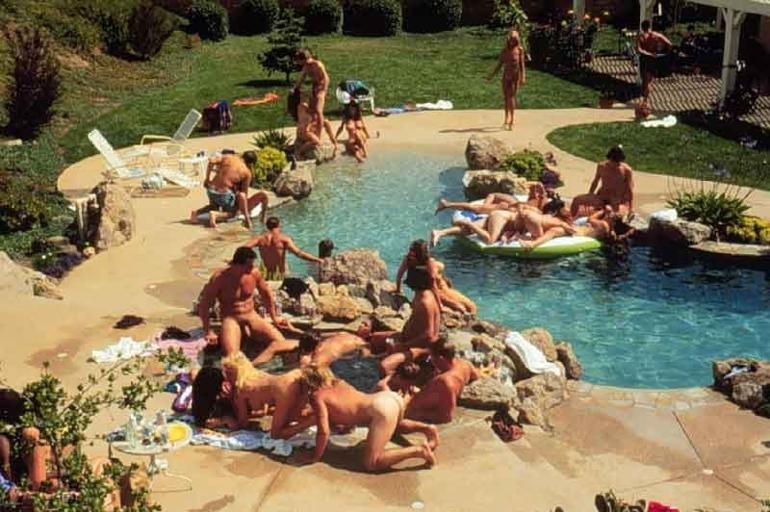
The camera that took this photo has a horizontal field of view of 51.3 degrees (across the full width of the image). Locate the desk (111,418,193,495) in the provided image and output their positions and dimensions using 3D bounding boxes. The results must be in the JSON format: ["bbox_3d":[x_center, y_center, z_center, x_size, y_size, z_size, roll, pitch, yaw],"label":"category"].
[{"bbox_3d":[-4.021,3.123,14.110,1.190,1.237,1.243,23,33,26],"label":"desk"}]
